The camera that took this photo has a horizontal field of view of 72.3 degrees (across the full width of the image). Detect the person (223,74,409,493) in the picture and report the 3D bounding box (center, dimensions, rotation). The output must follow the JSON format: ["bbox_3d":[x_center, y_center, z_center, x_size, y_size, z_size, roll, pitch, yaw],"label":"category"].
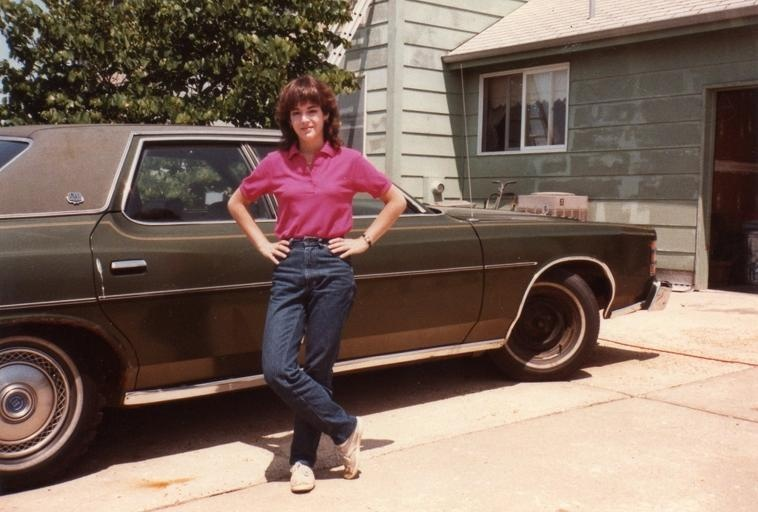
[{"bbox_3d":[-0.372,0.149,3.067,0.944,2.389,0.419,-3,6,-14],"label":"person"}]

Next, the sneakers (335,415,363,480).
[{"bbox_3d":[-0.196,1.177,3.167,0.127,0.397,0.160,7,13,42],"label":"sneakers"}]
